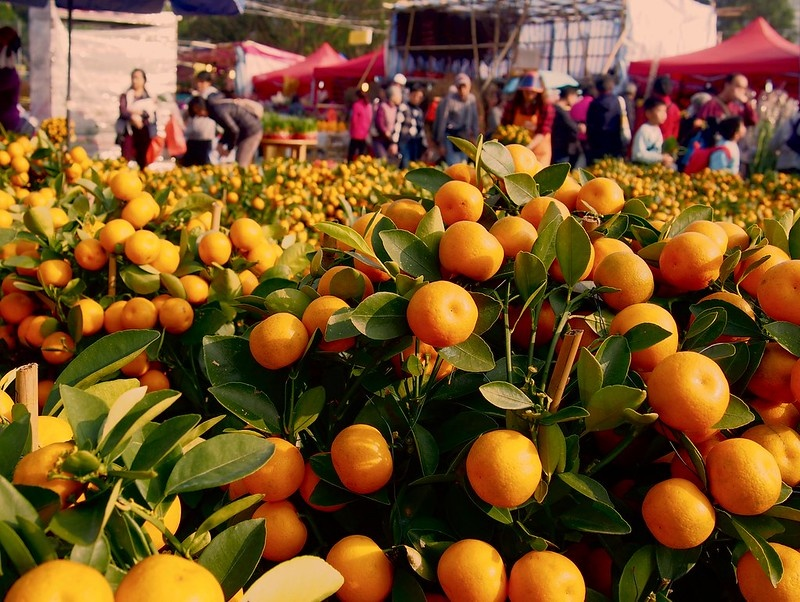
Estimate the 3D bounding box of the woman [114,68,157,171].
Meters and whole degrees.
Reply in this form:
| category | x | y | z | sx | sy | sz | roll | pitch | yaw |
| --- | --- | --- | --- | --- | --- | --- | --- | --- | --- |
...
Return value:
| category | x | y | z | sx | sy | sz | roll | pitch | yaw |
| --- | --- | --- | --- | --- | --- | --- | --- | --- | --- |
| woman | -3.110 | -2.062 | 9.357 | 0.400 | 1.345 | 0.376 | 3 | 29 | -17 |

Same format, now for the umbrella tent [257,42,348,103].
| category | x | y | z | sx | sy | sz | roll | pitch | yaw |
| --- | --- | --- | --- | --- | --- | --- | --- | --- | --- |
| umbrella tent | -2.568 | -5.908 | 20.647 | 1.885 | 1.122 | 2.125 | -13 | 37 | -9 |
